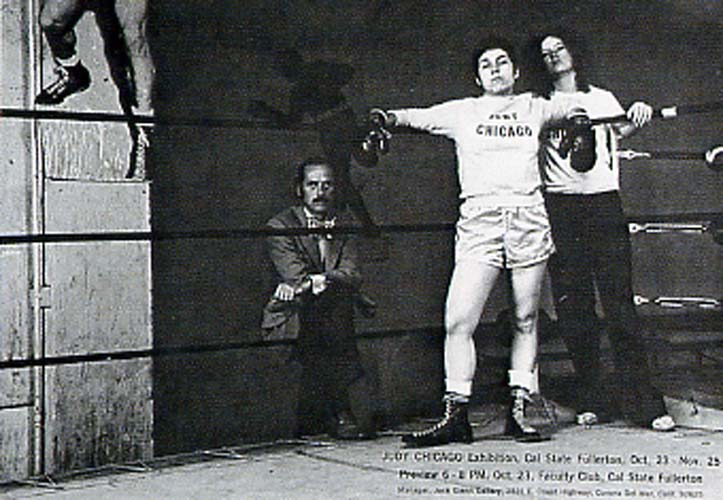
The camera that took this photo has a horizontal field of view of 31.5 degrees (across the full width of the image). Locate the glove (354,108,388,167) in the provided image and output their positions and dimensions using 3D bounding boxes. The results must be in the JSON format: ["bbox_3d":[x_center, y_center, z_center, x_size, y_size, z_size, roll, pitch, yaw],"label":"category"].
[{"bbox_3d":[0.105,-0.906,10.438,0.221,0.428,0.349,-10,-29,26],"label":"glove"}]

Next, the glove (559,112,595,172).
[{"bbox_3d":[1.806,-0.888,10.737,0.369,0.428,0.160,3,5,-4],"label":"glove"}]
